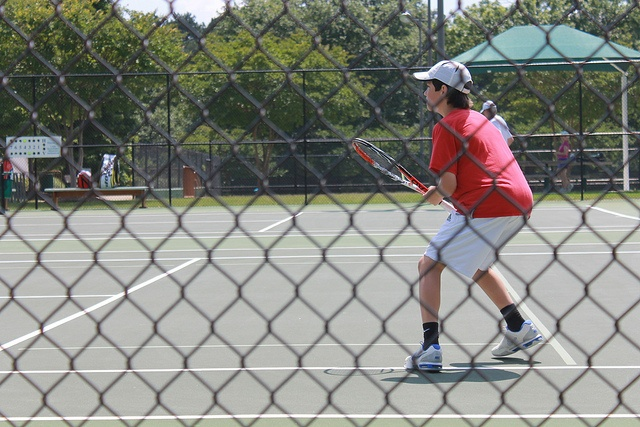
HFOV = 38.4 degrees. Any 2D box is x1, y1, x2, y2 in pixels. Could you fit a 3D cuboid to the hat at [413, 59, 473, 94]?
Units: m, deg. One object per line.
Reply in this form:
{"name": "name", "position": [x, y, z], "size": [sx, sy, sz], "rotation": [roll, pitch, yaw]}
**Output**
{"name": "hat", "position": [1.326, -1.506, 9.832], "size": [0.584, 0.270, 0.366], "rotation": [10, 5, 7]}

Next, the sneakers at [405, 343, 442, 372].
{"name": "sneakers", "position": [1.177, 1.657, 10.459], "size": [0.206, 0.211, 0.502], "rotation": [5, -8, -20]}

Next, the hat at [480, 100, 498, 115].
{"name": "hat", "position": [1.730, -1.060, 9.300], "size": [0.139, 0.096, 0.193], "rotation": [-9, -15, 43]}

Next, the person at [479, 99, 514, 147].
{"name": "person", "position": [1.891, -0.962, 9.778], "size": [0.365, 0.489, 1.364], "rotation": [5, 9, 9]}
